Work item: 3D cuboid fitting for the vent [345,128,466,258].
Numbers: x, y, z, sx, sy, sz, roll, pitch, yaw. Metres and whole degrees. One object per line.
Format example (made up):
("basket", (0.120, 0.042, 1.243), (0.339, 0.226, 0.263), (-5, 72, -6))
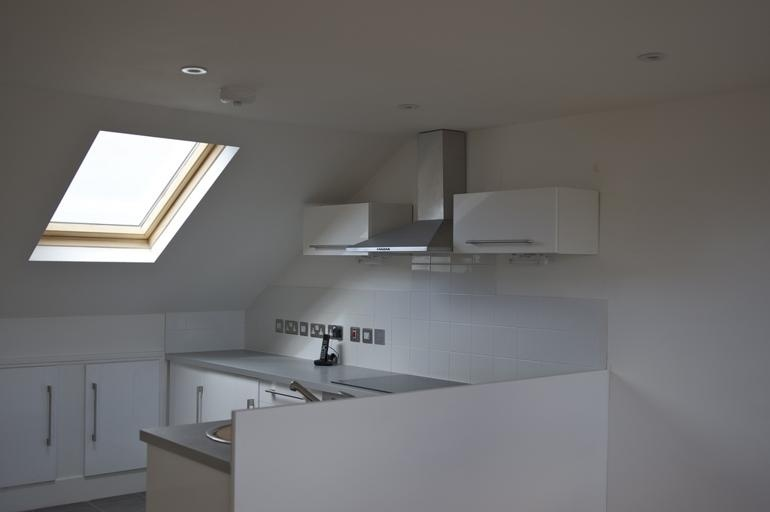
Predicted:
("vent", (0.291, -0.470, 4.179), (1.037, 0.870, 1.056), (1, 2, 2))

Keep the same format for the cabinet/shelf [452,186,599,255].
("cabinet/shelf", (0.854, -0.203, 3.488), (0.905, 0.424, 0.355), (-4, -13, 25))

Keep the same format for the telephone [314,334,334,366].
("telephone", (-0.503, 0.767, 4.629), (0.148, 0.258, 0.175), (3, -12, -7))

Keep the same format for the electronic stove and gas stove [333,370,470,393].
("electronic stove and gas stove", (0.060, 0.888, 3.991), (0.792, 0.131, 0.587), (11, -15, -36))
